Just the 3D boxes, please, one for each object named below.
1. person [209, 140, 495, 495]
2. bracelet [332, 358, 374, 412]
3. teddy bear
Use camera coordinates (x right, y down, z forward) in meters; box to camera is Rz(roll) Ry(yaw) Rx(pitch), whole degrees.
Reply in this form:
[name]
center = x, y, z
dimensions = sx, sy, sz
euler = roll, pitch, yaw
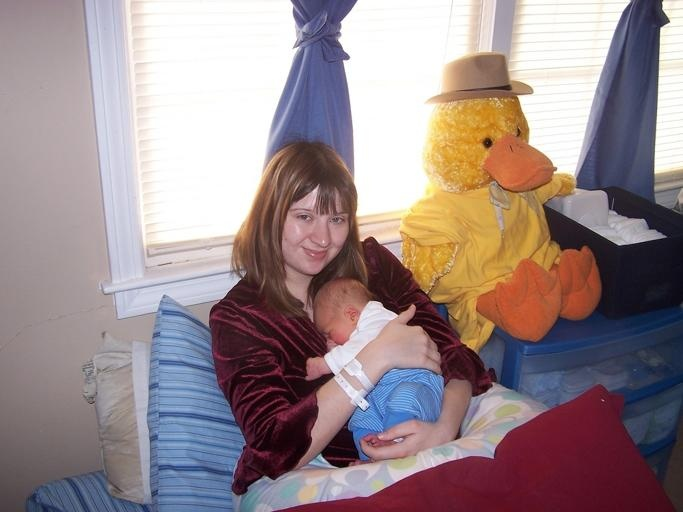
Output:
[person]
center = 0.058, 0.154, 1.746
dimensions = 0.956, 0.461, 1.118
euler = -1, 47, -19
[bracelet]
center = 0.037, 0.365, 1.474
dimensions = 0.137, 0.099, 0.046
euler = 52, 4, 26
[teddy bear]
center = 0.631, -0.207, 1.975
dimensions = 0.849, 1.011, 0.601
euler = -29, 28, -34
